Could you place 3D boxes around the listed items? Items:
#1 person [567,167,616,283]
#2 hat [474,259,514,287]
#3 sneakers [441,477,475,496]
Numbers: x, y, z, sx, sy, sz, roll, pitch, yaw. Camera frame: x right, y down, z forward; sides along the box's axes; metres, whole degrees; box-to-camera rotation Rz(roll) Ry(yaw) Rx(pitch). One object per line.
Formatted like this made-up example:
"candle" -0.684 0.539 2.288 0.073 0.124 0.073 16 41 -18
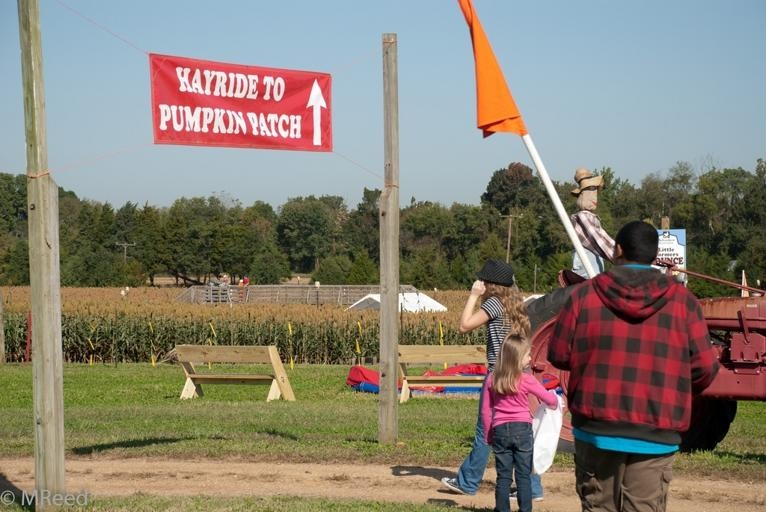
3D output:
"person" 3.930 -0.127 24.329 0.671 2.905 0.999 -14 17 -41
"hat" 1.928 0.292 22.298 0.458 0.223 0.488 16 6 1
"sneakers" 1.293 3.932 22.462 0.430 0.184 0.158 30 28 27
